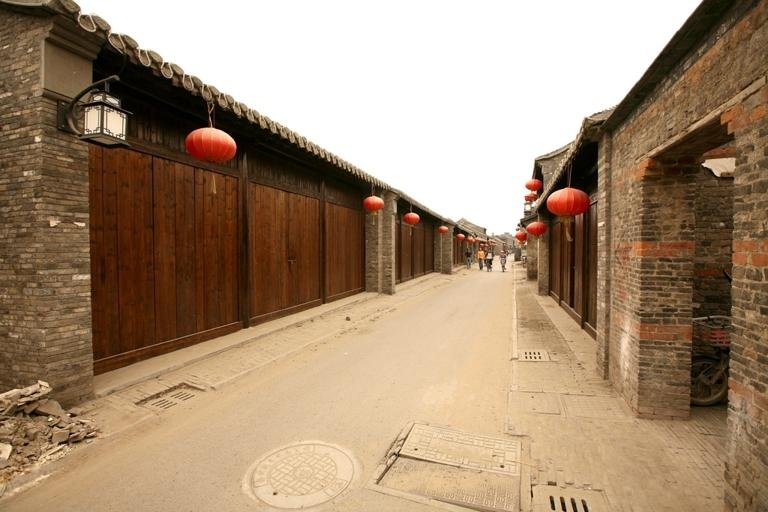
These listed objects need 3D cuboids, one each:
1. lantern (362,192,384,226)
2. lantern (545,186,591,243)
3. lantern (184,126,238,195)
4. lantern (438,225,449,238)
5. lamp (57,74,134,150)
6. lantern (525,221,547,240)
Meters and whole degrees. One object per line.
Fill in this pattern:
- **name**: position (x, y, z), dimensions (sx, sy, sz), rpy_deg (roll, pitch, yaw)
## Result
- **lantern**: position (-0.170, -1.215, 13.669), dimensions (0.704, 0.777, 0.686), rpy_deg (-1, -2, -33)
- **lantern**: position (3.113, -0.707, 8.969), dimensions (0.757, 0.882, 0.764), rpy_deg (0, -1, -9)
- **lantern**: position (-2.625, -1.707, 8.056), dimensions (0.655, 0.508, 0.310), rpy_deg (1, 8, -5)
- **lantern**: position (2.668, -1.062, 23.005), dimensions (0.538, 0.561, 0.549), rpy_deg (-2, 0, -3)
- **lamp**: position (-3.954, -1.984, 7.233), dimensions (0.911, 0.930, 0.505), rpy_deg (5, 9, 27)
- **lantern**: position (4.280, -0.749, 14.607), dimensions (0.598, 0.597, 0.604), rpy_deg (-3, 3, -8)
